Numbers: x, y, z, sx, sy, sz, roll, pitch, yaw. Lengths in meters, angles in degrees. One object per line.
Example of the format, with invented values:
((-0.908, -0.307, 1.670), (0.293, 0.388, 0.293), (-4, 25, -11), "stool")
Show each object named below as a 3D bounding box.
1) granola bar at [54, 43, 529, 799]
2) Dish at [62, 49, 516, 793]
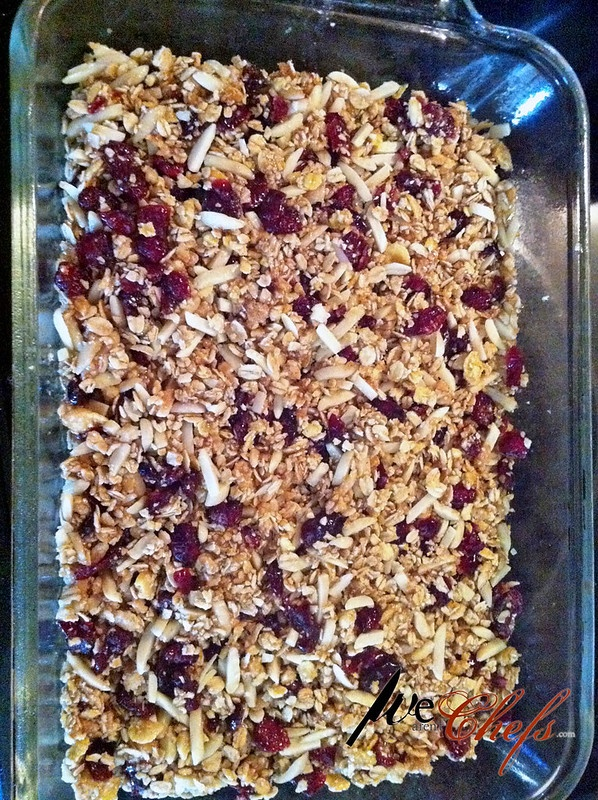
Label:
((-0.044, 0.069, 1.873), (0.948, 0.376, 1.157), (-1, 96, -19), "granola bar")
((0.004, 0.058, 1.840), (0.807, 0.339, 1.245), (1, 85, -1), "Dish")
